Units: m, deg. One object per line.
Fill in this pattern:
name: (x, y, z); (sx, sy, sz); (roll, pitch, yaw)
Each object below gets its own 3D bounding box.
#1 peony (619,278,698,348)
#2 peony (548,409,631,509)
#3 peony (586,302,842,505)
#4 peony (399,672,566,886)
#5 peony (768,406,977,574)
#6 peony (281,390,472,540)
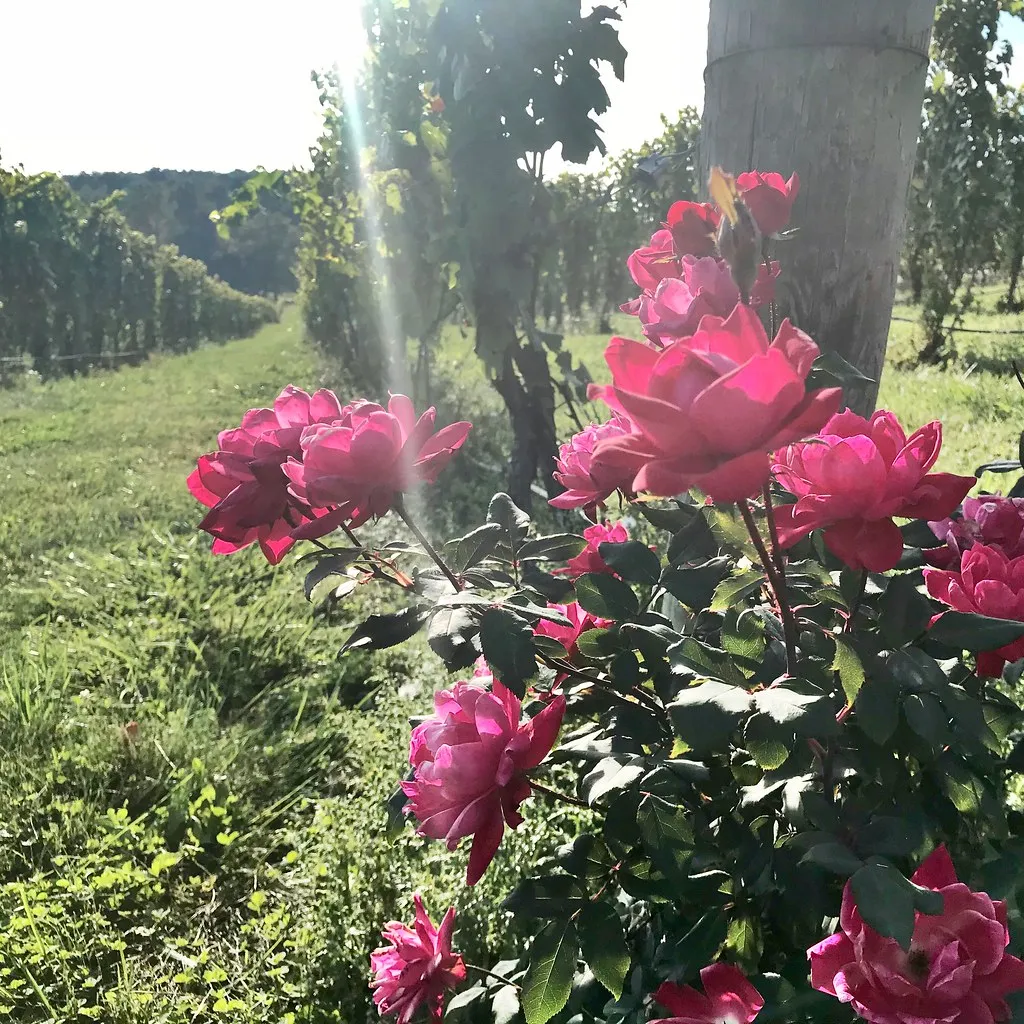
peony: (0.162, -0.235, 1.188); (0.057, 0.091, 0.091); (7, -29, -16)
peony: (0.096, -0.060, 1.265); (0.071, 0.123, 0.116); (19, 60, 0)
peony: (0.192, -0.095, 0.971); (0.225, 0.214, 0.164); (-2, 14, 0)
peony: (-0.038, 0.310, 1.266); (0.201, 0.208, 0.258); (-7, 15, -18)
peony: (0.354, -0.051, 1.022); (0.196, 0.109, 0.183); (4, 22, 0)
peony: (-0.185, -0.055, 1.276); (0.238, 0.191, 0.198); (-13, 18, -36)
